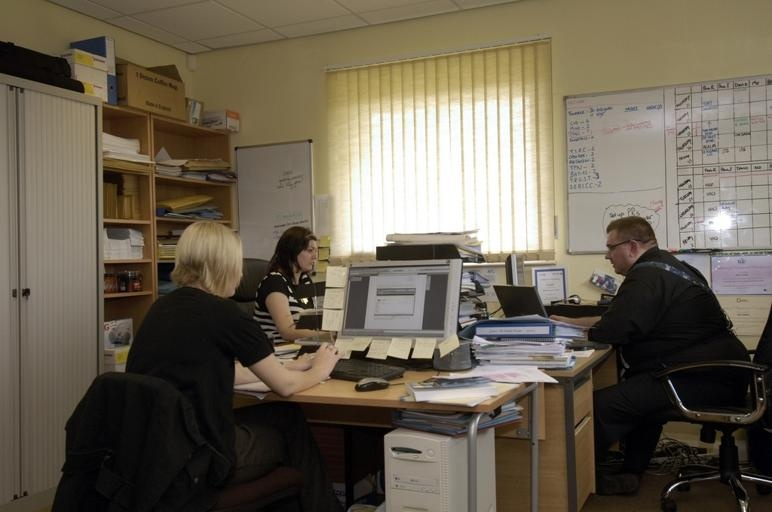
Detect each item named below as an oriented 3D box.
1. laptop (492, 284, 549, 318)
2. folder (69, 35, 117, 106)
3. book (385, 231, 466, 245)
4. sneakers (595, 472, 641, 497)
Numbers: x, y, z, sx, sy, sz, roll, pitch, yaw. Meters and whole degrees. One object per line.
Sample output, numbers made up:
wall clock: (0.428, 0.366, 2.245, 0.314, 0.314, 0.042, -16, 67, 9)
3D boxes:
laptop: (0.799, 0.270, 3.471, 0.223, 0.188, 0.297, -15, 2, -33)
folder: (-2.432, -1.494, 4.727, 0.422, 0.526, 0.207, 2, 9, 2)
book: (0.276, -0.118, 4.025, 0.591, 0.060, 0.387, -2, 1, 9)
sneakers: (1.404, 1.382, 3.579, 0.328, 0.125, 0.112, -5, 2, -4)
